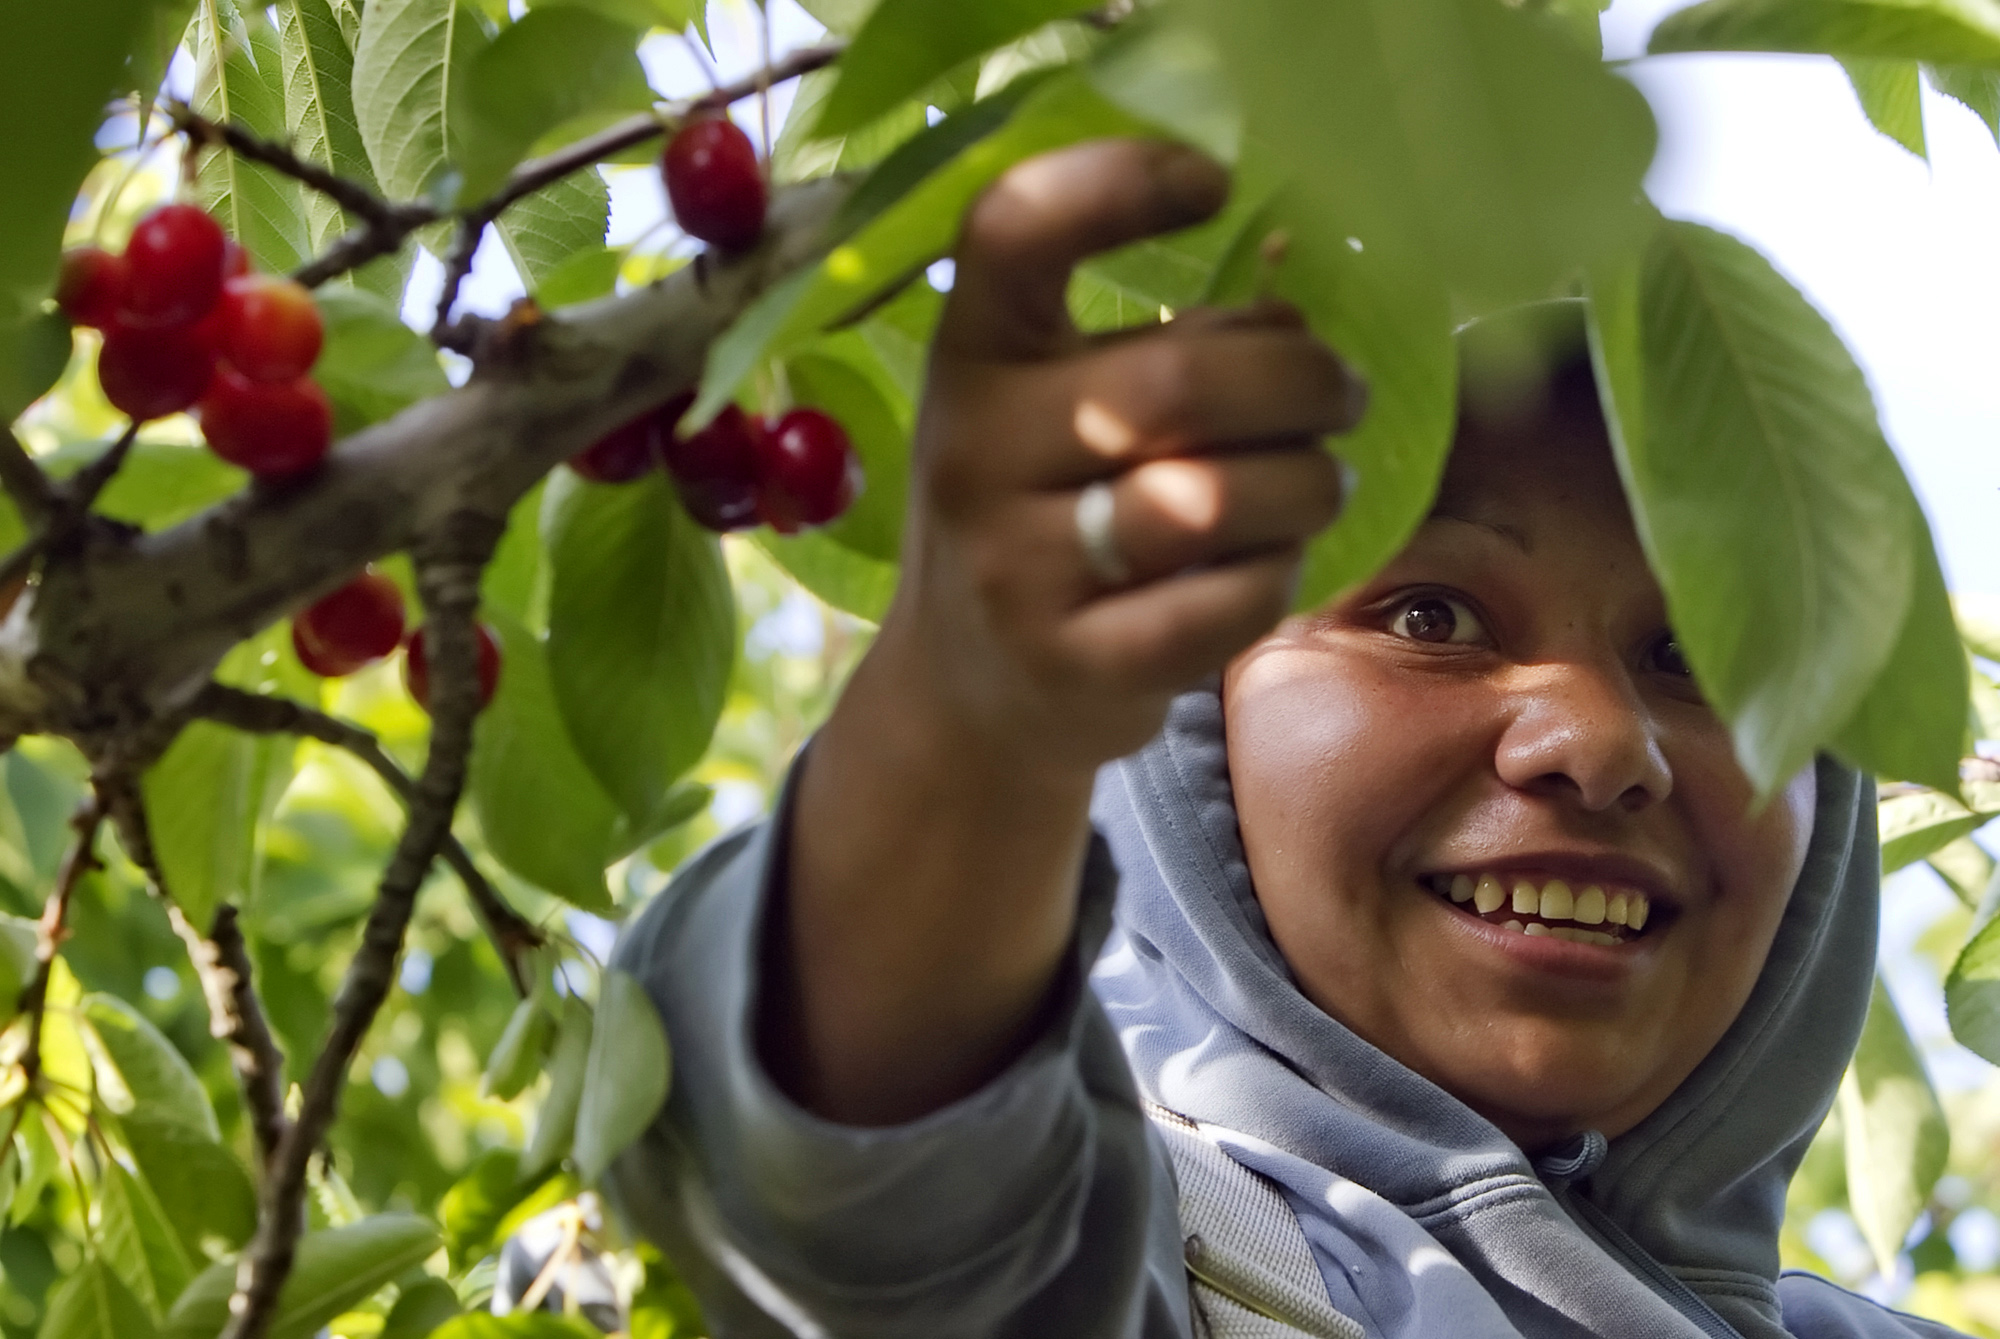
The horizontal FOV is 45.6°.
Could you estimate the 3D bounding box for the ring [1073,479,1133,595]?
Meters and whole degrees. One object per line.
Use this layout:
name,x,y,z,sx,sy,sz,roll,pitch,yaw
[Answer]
ring,0.070,-0.095,1.602,0.040,0.063,0.015,-5,0,33

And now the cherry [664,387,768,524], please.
cherry,-0.203,-0.146,1.708,0.079,0.093,0.078,-1,5,3
